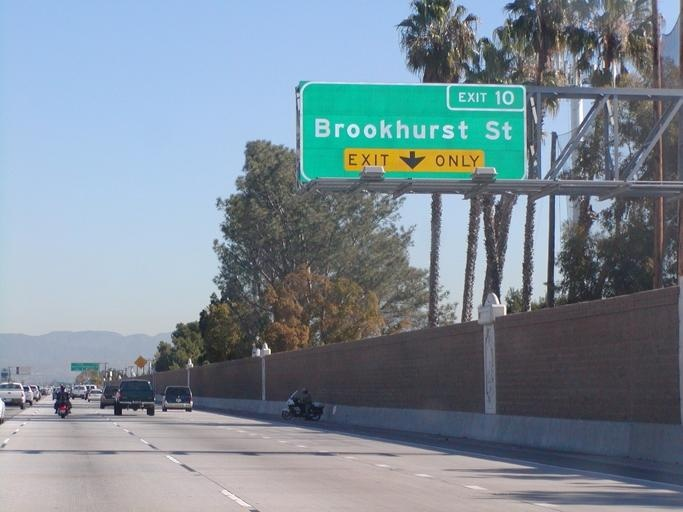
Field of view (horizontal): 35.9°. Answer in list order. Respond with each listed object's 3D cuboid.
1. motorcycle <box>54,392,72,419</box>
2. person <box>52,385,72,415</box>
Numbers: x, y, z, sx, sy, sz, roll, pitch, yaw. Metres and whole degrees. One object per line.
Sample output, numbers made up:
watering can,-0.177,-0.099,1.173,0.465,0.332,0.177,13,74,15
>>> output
motorcycle,-15.931,8.450,59.858,0.655,1.165,1.773,1,2,-11
person,-16.231,8.402,60.264,0.903,1.624,2.414,1,3,-9
